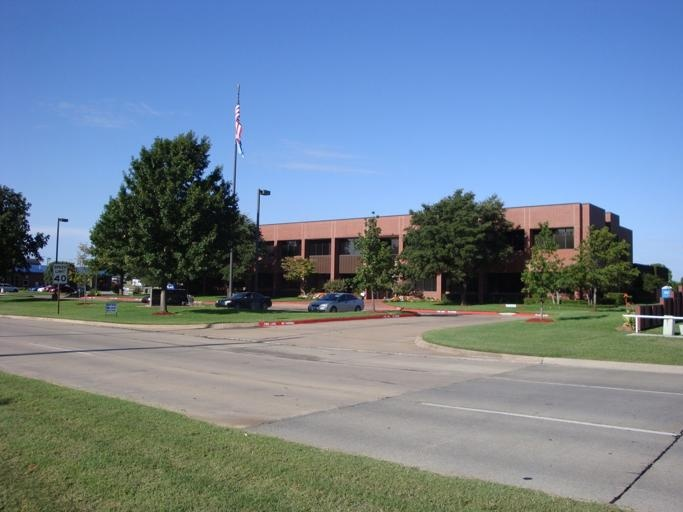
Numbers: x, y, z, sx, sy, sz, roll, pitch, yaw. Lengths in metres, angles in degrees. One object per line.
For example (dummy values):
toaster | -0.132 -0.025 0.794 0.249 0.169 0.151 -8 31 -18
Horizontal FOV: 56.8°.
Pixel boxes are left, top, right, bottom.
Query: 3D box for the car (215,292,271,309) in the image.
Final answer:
car | -6.720 3.180 45.273 3.552 1.211 4.050 4 -5 -32

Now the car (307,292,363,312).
car | -0.249 3.311 43.728 3.289 1.148 1.478 8 -11 -43

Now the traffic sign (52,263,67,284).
traffic sign | -15.849 0.993 35.627 0.669 1.207 2.019 3 -4 -26
